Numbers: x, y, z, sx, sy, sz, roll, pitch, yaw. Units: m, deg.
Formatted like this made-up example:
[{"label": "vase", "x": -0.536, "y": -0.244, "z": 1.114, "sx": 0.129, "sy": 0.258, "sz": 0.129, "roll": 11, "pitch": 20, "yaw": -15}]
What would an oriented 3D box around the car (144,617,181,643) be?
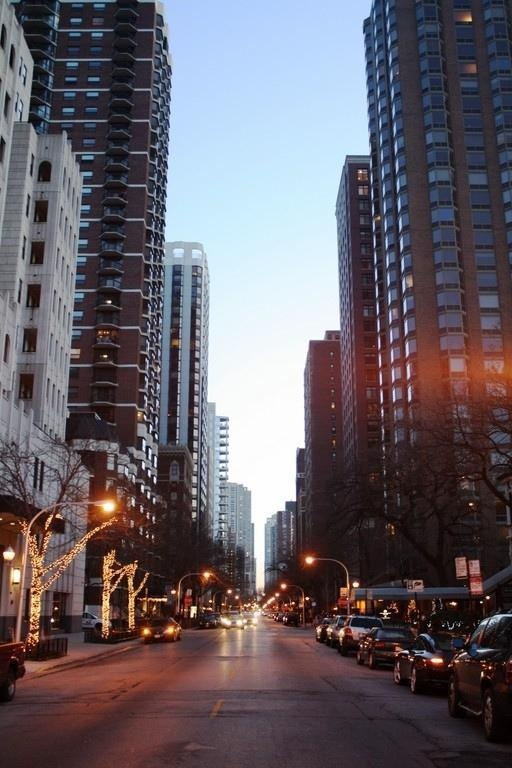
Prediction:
[{"label": "car", "x": -5.884, "y": 15.334, "z": 45.216, "sx": 2.049, "sy": 1.459, "sz": 2.259, "roll": 3, "pitch": -18, "yaw": -9}]
